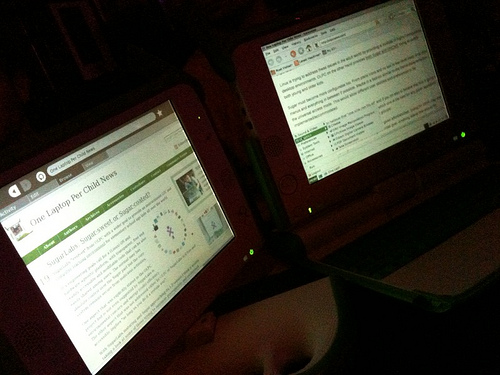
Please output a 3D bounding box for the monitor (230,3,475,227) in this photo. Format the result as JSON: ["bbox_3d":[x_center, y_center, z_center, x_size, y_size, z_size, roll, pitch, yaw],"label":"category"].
[{"bbox_3d":[0.231,-0.161,0.901,0.443,0.321,0.034,-24,13,-13],"label":"monitor"}]

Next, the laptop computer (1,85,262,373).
[{"bbox_3d":[-0.208,0.075,0.688,0.446,0.368,0.033,-30,14,-36],"label":"laptop computer"}]
